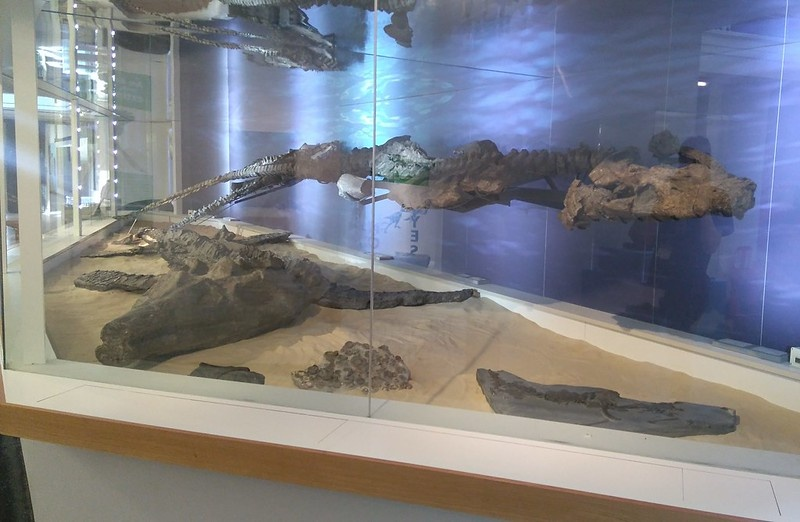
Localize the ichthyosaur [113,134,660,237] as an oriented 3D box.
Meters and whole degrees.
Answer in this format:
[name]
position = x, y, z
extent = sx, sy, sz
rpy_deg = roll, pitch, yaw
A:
[ichthyosaur]
position = -0.129, -0.395, 2.882
extent = 3.245, 0.438, 0.382
rpy_deg = 0, 30, 1
